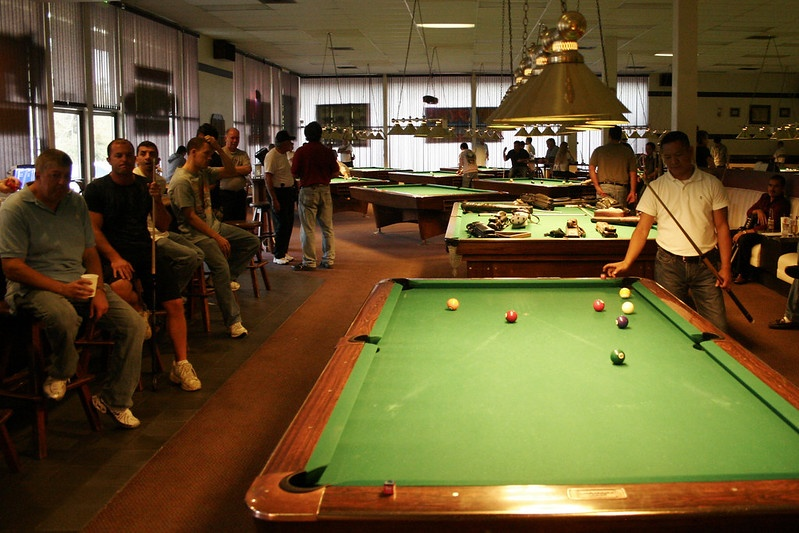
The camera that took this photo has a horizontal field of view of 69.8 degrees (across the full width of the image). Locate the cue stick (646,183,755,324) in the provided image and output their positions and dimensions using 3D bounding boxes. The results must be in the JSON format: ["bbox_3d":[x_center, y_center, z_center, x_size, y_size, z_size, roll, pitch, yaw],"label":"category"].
[{"bbox_3d":[2.235,-0.098,4.322,0.559,1.184,0.696,1,2,28],"label":"cue stick"}]

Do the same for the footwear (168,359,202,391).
[{"bbox_3d":[-1.602,0.814,4.324,0.141,0.153,0.332,-6,10,-44],"label":"footwear"}]

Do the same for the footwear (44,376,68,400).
[{"bbox_3d":[-2.114,0.750,3.532,0.082,0.080,0.177,-21,15,-17],"label":"footwear"}]

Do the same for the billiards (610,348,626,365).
[{"bbox_3d":[1.027,0.425,2.742,0.069,0.078,0.067,11,41,31],"label":"billiards"}]
